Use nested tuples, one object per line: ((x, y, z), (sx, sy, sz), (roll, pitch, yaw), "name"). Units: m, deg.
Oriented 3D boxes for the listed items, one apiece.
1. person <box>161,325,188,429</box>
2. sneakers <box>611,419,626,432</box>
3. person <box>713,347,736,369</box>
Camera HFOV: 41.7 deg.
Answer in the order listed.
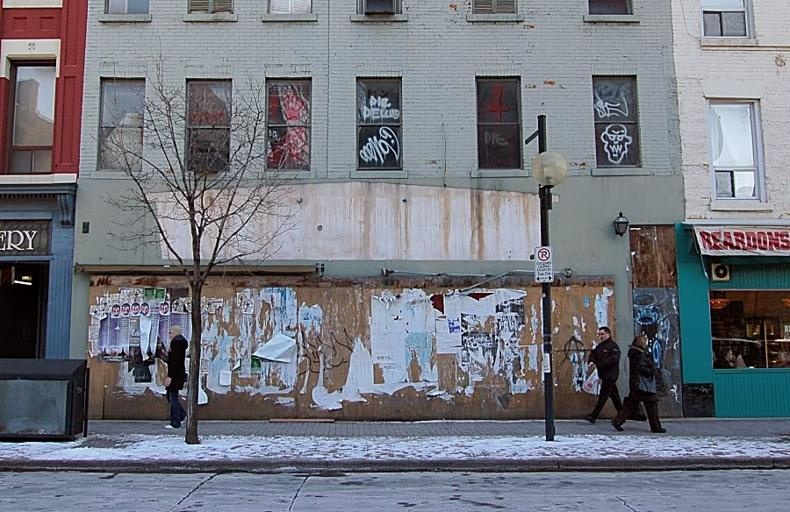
((-5.775, 3.163, 27.327), (0.576, 2.623, 0.876), (0, -2, -13), "person")
((5.799, 4.443, 26.837), (0.194, 0.173, 0.499), (-27, -49, 6), "sneakers")
((9.090, 2.792, 28.582), (0.456, 0.774, 0.738), (-5, 5, 10), "person")
